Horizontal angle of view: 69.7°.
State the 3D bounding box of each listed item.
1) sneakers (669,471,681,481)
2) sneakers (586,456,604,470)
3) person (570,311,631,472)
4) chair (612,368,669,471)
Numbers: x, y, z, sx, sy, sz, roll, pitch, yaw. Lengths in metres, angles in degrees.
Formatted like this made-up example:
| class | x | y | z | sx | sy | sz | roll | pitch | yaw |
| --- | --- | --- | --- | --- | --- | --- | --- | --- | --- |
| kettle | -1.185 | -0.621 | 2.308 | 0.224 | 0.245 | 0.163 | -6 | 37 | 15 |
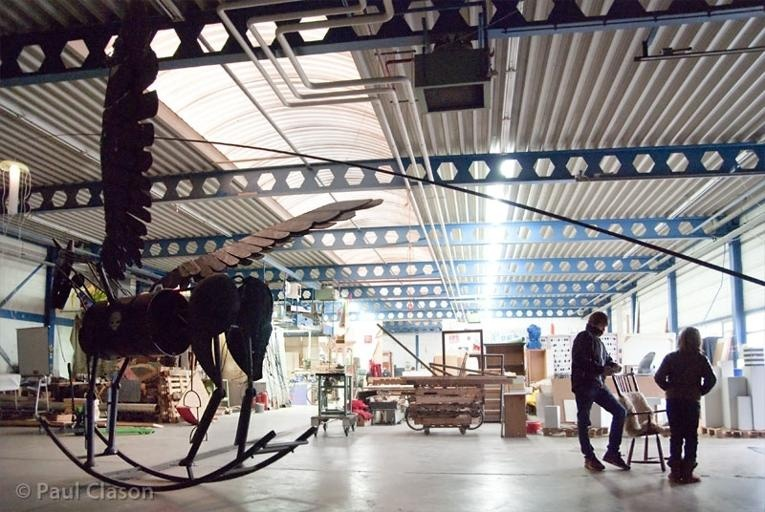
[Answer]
| class | x | y | z | sx | sy | sz | roll | pitch | yaw |
| --- | --- | --- | --- | --- | --- | --- | --- | --- | --- |
| sneakers | 3.917 | 2.978 | 7.414 | 0.160 | 0.141 | 0.097 | -2 | -19 | 37 |
| sneakers | 3.091 | 3.063 | 8.093 | 0.146 | 0.117 | 0.282 | 3 | -14 | -18 |
| person | 3.260 | 2.021 | 8.366 | 0.724 | 2.322 | 0.866 | -5 | -16 | 20 |
| chair | 4.043 | 2.496 | 8.357 | 0.917 | 1.334 | 0.943 | 8 | -7 | -34 |
